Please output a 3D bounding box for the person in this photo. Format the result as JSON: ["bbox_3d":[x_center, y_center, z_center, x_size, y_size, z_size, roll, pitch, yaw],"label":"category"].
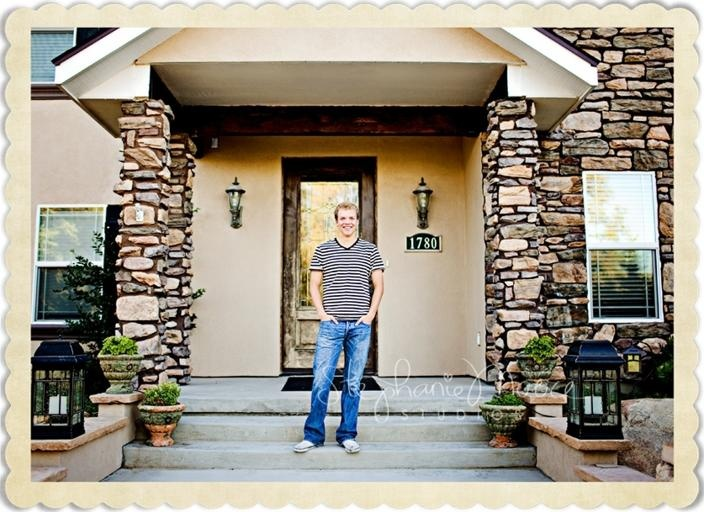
[{"bbox_3d":[-0.114,0.736,7.742,0.843,2.548,0.310,0,-5,3],"label":"person"}]

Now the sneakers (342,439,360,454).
[{"bbox_3d":[-0.010,1.939,7.675,0.205,0.143,0.140,0,-5,0],"label":"sneakers"}]

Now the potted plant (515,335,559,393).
[{"bbox_3d":[1.992,1.188,8.254,0.609,0.730,0.542,0,-8,0],"label":"potted plant"}]

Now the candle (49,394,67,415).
[{"bbox_3d":[-2.802,1.436,7.210,0.166,0.161,0.168,-1,-7,-2],"label":"candle"}]

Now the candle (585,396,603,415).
[{"bbox_3d":[2.321,1.438,7.232,0.178,0.176,0.029,1,-5,-6],"label":"candle"}]

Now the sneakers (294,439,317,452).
[{"bbox_3d":[-0.473,1.951,7.691,0.224,0.080,0.095,9,-13,-36],"label":"sneakers"}]

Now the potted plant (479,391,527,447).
[{"bbox_3d":[1.584,1.697,7.830,0.543,0.551,0.536,1,-10,0],"label":"potted plant"}]

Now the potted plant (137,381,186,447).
[{"bbox_3d":[-2.015,1.674,7.943,0.466,0.642,0.342,2,-5,-13],"label":"potted plant"}]

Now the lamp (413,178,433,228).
[{"bbox_3d":[0.976,-0.748,10.315,0.270,0.711,0.208,0,-5,0],"label":"lamp"}]

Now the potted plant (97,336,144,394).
[{"bbox_3d":[-2.452,1.172,8.230,0.610,0.714,0.546,0,-1,1],"label":"potted plant"}]

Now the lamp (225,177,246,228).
[{"bbox_3d":[-1.589,-0.742,10.282,0.213,0.701,0.200,0,-5,9],"label":"lamp"}]
